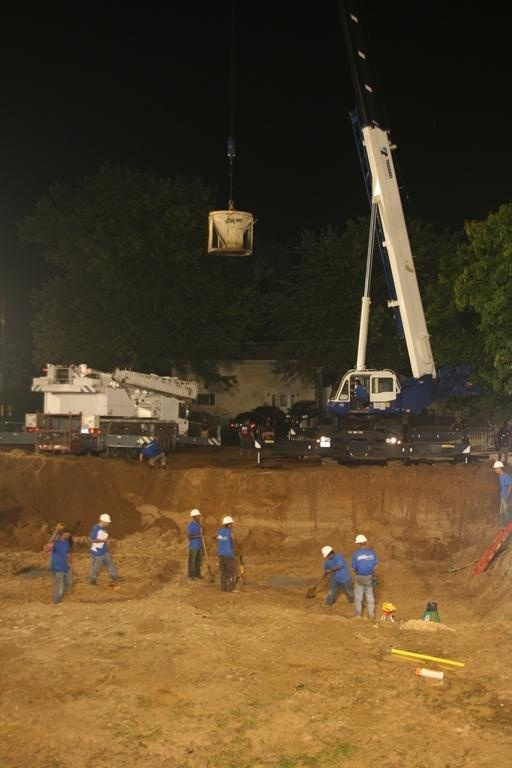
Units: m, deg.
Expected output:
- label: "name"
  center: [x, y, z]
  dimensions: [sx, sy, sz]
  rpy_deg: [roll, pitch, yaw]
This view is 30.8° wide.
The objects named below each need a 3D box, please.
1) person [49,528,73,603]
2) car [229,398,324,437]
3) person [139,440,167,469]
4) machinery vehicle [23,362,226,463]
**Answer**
- label: "person"
  center: [-3.590, 3.289, 17.023]
  dimensions: [0.349, 1.657, 1.299]
  rpy_deg: [0, 8, -10]
- label: "car"
  center: [0.818, 1.517, 42.222]
  dimensions: [3.677, 1.209, 1.654]
  rpy_deg: [1, -2, -6]
- label: "person"
  center: [-3.055, 2.076, 27.327]
  dimensions: [0.660, 0.978, 2.748]
  rpy_deg: [0, 8, -9]
- label: "machinery vehicle"
  center: [-4.326, 0.877, 29.949]
  dimensions: [5.564, 3.044, 2.556]
  rpy_deg: [-5, 10, -38]
